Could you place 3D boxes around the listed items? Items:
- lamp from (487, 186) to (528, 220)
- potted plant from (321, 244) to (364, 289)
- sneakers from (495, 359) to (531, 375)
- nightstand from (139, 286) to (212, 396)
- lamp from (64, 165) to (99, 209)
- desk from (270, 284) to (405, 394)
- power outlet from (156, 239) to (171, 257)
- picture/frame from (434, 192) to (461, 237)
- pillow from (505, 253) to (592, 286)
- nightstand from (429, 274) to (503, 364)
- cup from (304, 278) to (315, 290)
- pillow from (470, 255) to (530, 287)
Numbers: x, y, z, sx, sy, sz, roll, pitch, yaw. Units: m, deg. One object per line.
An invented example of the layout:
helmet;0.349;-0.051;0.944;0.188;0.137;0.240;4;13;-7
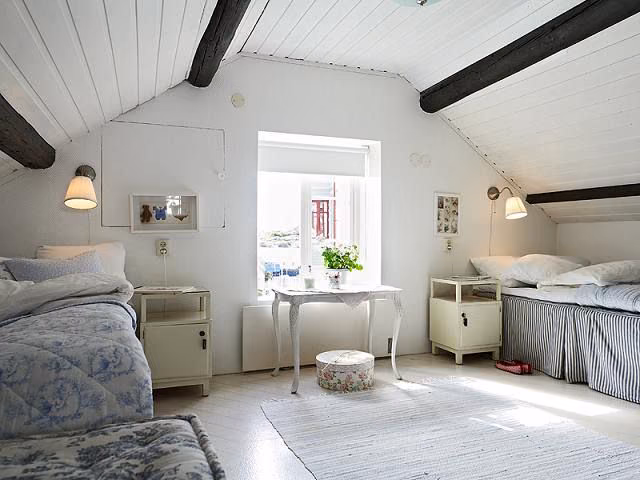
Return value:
lamp;2.157;-0.432;4.738;0.487;0.379;0.364;1;-2;-33
potted plant;0.203;0.249;4.004;0.337;0.342;0.335;3;2;-4
sneakers;1.781;1.176;3.966;0.127;0.061;0.190;0;1;-27
nightstand;-1.160;0.776;3.523;0.523;0.836;0.481;-1;10;-16
lamp;-1.890;-0.469;3.347;0.192;0.376;0.218;-8;-13;0
desk;0.166;0.821;3.881;1.042;0.825;0.663;0;1;-17
power outlet;-1.357;0.064;3.673;0.140;0.203;0.019;1;-3;-27
picture/frame;1.345;-0.274;4.569;0.446;0.643;0.040;-1;0;-22
pillow;2.219;0.254;4.229;0.464;0.150;0.419;-10;8;-25
nightstand;1.504;0.803;4.452;0.656;0.809;0.704;0;-1;9
cup;-0.094;0.395;3.820;0.085;0.101;0.090;1;-2;0
pillow;1.911;0.300;4.548;0.316;0.107;0.358;-3;26;-24
